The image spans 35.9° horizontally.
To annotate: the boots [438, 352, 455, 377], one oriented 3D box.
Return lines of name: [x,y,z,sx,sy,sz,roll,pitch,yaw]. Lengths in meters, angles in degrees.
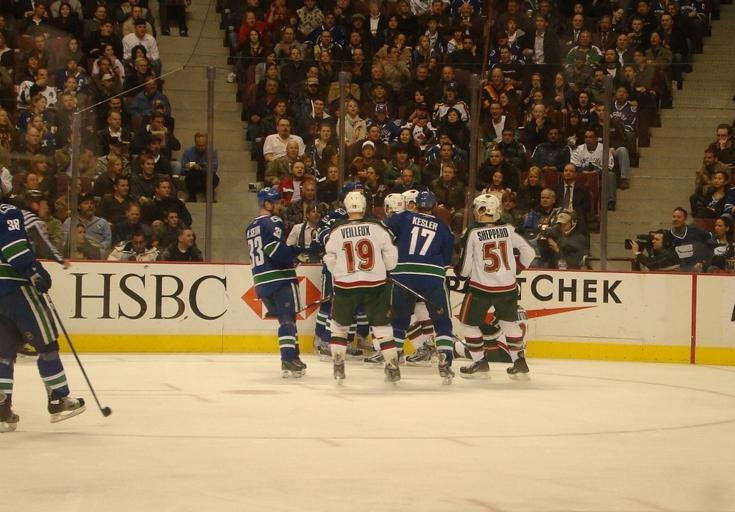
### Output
boots: [0.912,1.286,13.275,0.182,0.303,0.212,0,9,-4]

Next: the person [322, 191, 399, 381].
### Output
person: [-0.062,0.366,13.158,0.848,2.223,0.452,0,9,-4]

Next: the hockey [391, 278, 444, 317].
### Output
hockey: [0.590,0.486,13.685,0.875,0.088,0.092,27,-11,14]

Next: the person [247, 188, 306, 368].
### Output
person: [-1.108,0.293,13.812,0.785,2.174,0.662,-1,11,-13]

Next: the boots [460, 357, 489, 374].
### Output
boots: [1.252,1.367,13.831,0.441,0.173,0.144,-1,1,12]
